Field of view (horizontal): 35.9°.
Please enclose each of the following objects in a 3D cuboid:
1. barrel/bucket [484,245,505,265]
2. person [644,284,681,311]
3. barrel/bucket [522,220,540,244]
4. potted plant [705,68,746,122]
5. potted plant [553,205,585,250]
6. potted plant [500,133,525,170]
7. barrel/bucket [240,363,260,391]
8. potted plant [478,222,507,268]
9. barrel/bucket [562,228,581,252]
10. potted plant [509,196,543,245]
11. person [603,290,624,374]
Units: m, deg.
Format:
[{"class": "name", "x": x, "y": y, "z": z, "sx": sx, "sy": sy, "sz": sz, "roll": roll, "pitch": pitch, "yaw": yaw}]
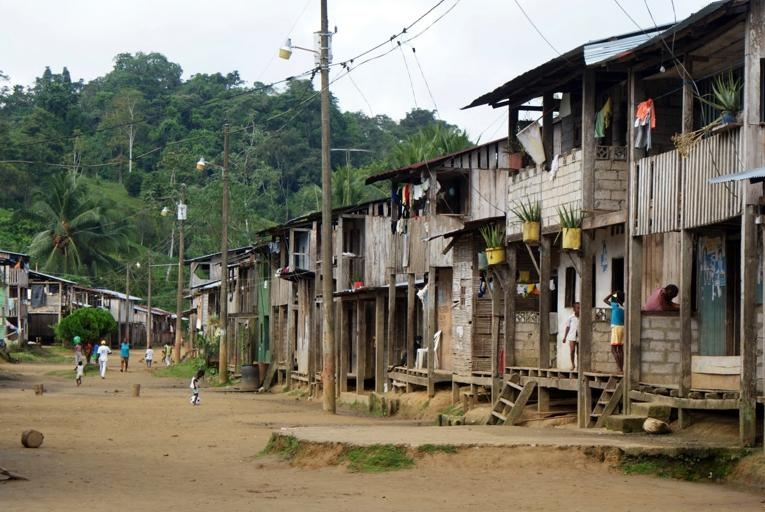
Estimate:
[{"class": "barrel/bucket", "x": 3.455, "y": -0.038, "z": 36.371, "sx": 0.475, "sy": 0.404, "sz": 0.509, "roll": 0, "pitch": -8, "yaw": 0}, {"class": "person", "x": 7.567, "y": 1.131, "z": 32.143, "sx": 0.905, "sy": 0.863, "sz": 0.919, "roll": -2, "pitch": -11, "yaw": 19}, {"class": "barrel/bucket", "x": 4.429, "y": -0.741, "z": 35.160, "sx": 0.523, "sy": 0.820, "sz": 0.562, "roll": -2, "pitch": 1, "yaw": 0}, {"class": "potted plant", "x": 8.790, "y": -3.913, "z": 29.673, "sx": 0.797, "sy": 1.154, "sz": 1.017, "roll": -5, "pitch": -1, "yaw": 9}, {"class": "potted plant", "x": 5.246, "y": -0.850, "z": 33.534, "sx": 0.642, "sy": 1.180, "sz": 0.595, "roll": -6, "pitch": 3, "yaw": -29}, {"class": "potted plant", "x": 4.227, "y": -3.310, "z": 37.501, "sx": 0.868, "sy": 1.010, "sz": 0.593, "roll": -1, "pitch": -2, "yaw": 21}, {"class": "barrel/bucket", "x": -6.088, "y": 5.525, "z": 53.475, "sx": 0.912, "sy": 1.151, "sz": 0.957, "roll": 1, "pitch": -1, "yaw": 0}, {"class": "potted plant", "x": 3.502, "y": -0.426, "z": 36.415, "sx": 1.050, "sy": 1.949, "sz": 1.103, "roll": -1, "pitch": -13, "yaw": 3}, {"class": "barrel/bucket", "x": 5.324, "y": -0.496, "z": 33.306, "sx": 0.527, "sy": 0.653, "sz": 0.549, "roll": 0, "pitch": -2, "yaw": 0}, {"class": "potted plant", "x": 4.322, "y": -1.087, "z": 35.336, "sx": 0.835, "sy": 1.211, "sz": 0.903, "roll": -1, "pitch": -5, "yaw": -10}, {"class": "person", "x": 6.458, "y": 2.053, "z": 32.605, "sx": 0.459, "sy": 2.288, "sz": 1.285, "roll": 2, "pitch": -10, "yaw": 0}]
